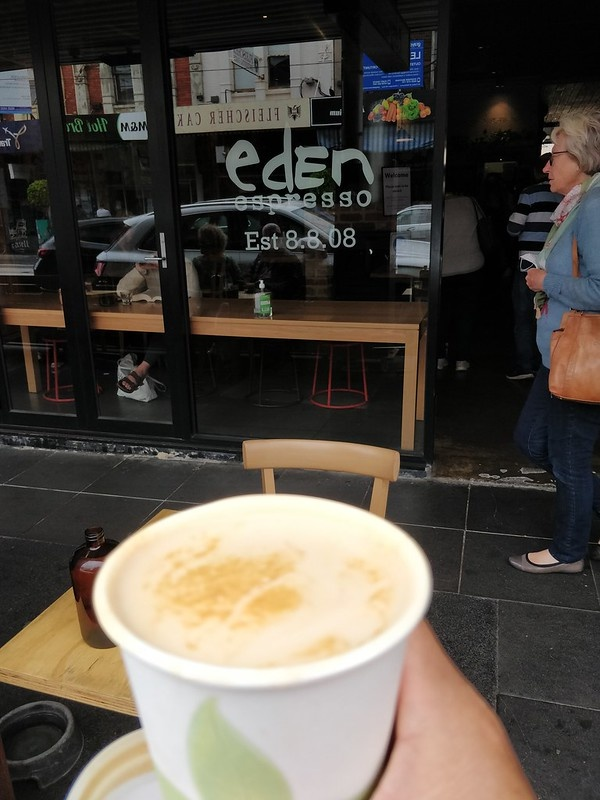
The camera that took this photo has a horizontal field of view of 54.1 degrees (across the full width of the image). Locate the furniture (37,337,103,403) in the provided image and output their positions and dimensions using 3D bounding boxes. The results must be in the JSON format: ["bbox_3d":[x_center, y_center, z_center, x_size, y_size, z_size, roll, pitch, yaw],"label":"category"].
[{"bbox_3d":[-1.496,-0.222,3.998,0.444,0.444,0.411,-3,21,-8],"label":"furniture"}]

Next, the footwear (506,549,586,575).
[{"bbox_3d":[0.988,0.670,2.409,0.299,0.105,0.107,3,6,12],"label":"footwear"}]

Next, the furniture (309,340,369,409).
[{"bbox_3d":[0.321,-0.161,3.772,0.403,0.415,0.396,-3,16,-18],"label":"furniture"}]

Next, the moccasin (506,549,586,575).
[{"bbox_3d":[0.992,0.667,2.417,0.299,0.105,0.107,3,6,12],"label":"moccasin"}]

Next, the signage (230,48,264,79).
[{"bbox_3d":[-0.281,-1.835,3.211,0.206,0.079,0.061,33,30,0],"label":"signage"}]
